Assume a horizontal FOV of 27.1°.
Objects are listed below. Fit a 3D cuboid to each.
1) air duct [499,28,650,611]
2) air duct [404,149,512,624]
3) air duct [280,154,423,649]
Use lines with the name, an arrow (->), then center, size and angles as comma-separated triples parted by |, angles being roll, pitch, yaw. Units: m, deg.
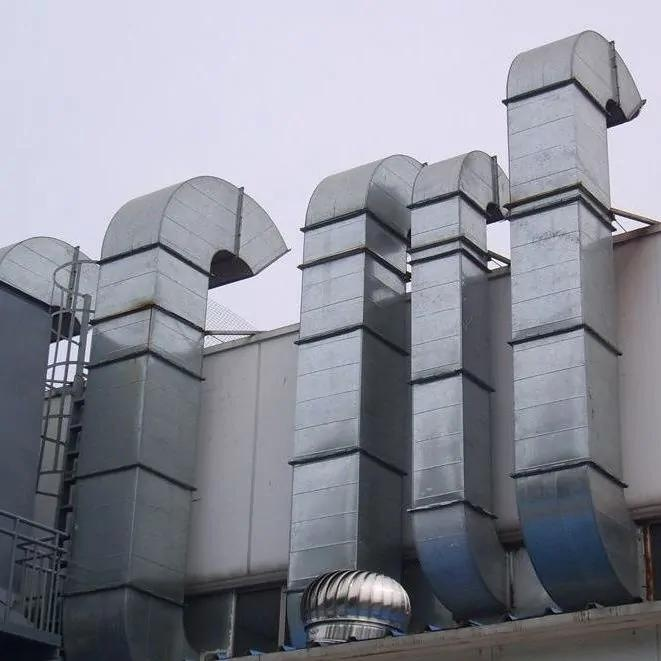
air duct -> 3.936, -0.699, 22.677 | 2.210, 10.297, 1.477 | -1, -24, 0
air duct -> 2.108, 0.499, 23.774 | 1.616, 8.805, 1.047 | -1, -24, 1
air duct -> 0.391, 0.846, 24.739 | 2.276, 9.402, 1.219 | 0, -24, -2
